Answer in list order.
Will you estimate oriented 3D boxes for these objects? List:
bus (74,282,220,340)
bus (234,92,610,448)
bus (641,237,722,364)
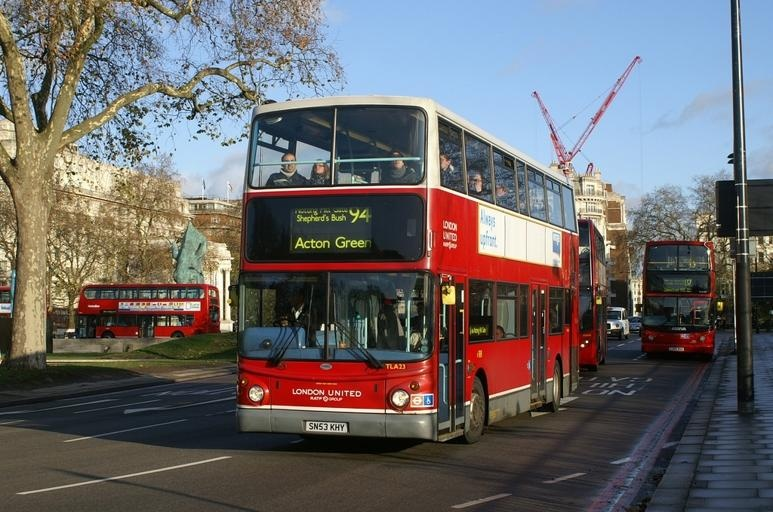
[{"bbox_3d":[-17.418,3.908,56.837,9.350,3.841,1.815,-1,-2,4],"label":"bus"},{"bbox_3d":[0.787,0.731,18.801,3.498,5.342,10.516,-1,-5,27],"label":"bus"},{"bbox_3d":[13.359,1.863,36.312,3.087,5.137,1.352,-1,-2,17],"label":"bus"}]
